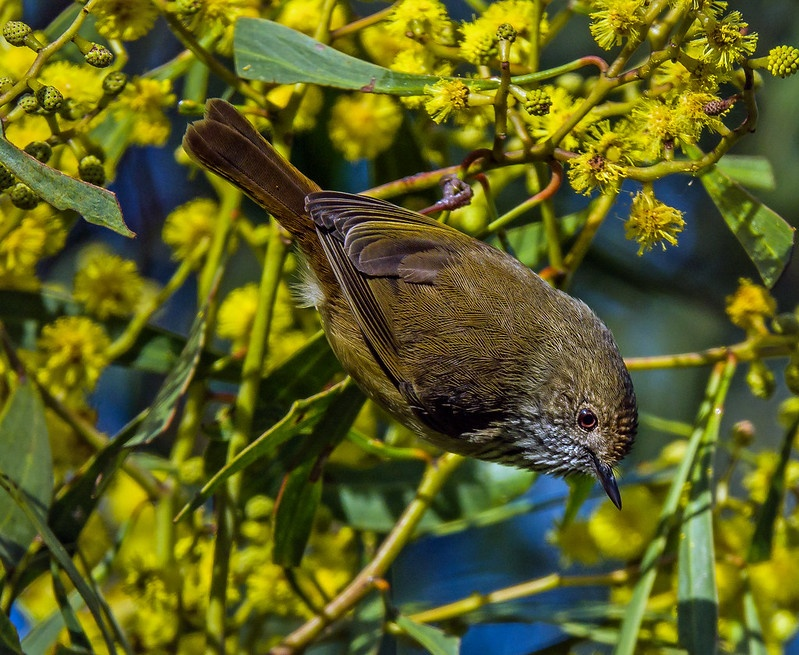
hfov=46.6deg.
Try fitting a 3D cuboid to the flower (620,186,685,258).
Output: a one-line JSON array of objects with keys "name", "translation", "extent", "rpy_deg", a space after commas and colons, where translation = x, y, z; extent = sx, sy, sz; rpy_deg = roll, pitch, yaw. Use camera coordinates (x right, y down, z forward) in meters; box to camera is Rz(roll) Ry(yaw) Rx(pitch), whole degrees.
[{"name": "flower", "translation": [0.609, -0.254, 2.267], "extent": [0.205, 0.191, 0.110], "rpy_deg": [2, 71, -8]}]

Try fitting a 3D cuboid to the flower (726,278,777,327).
[{"name": "flower", "translation": [0.896, -0.056, 2.369], "extent": [0.103, 0.040, 0.125], "rpy_deg": [-9, 74, 22]}]
